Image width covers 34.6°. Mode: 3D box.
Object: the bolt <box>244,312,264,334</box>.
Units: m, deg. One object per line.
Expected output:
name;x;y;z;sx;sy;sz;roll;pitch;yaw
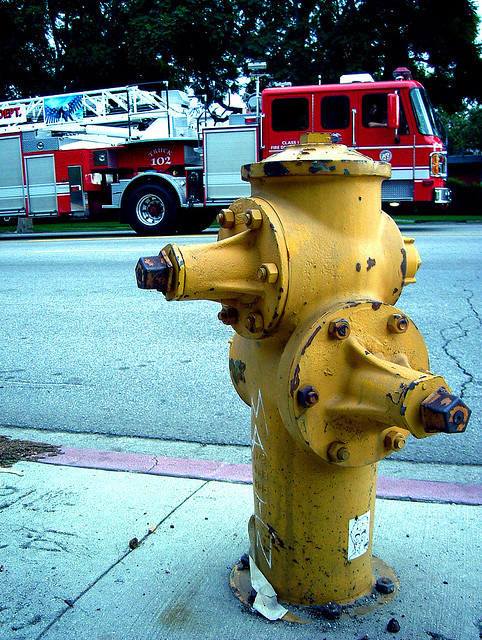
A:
bolt;0.039;0.006;2.303;0.060;0.066;0.075;-9;5;-26

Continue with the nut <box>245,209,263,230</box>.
nut;0.037;-0.288;2.206;0.043;0.061;0.071;-2;4;-30

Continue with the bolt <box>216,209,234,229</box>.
bolt;-0.054;-0.310;2.349;0.064;0.051;0.051;0;2;-36

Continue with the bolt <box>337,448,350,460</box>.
bolt;0.289;0.378;2.183;0.037;0.027;0.034;1;-1;4

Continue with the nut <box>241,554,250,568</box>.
nut;0.014;0.813;2.626;0.025;0.026;0.029;-1;-4;0

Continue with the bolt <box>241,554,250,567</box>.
bolt;0.021;0.817;2.625;0.032;0.024;0.023;2;4;28

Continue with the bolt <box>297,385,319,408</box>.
bolt;0.184;0.212;2.138;0.057;0.062;0.029;-2;15;1

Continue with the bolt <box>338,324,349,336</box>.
bolt;0.285;0.027;2.141;0.036;0.033;0.005;-8;16;-23

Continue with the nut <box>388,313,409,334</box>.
nut;0.449;0.008;2.220;0.068;0.067;0.039;2;6;-28

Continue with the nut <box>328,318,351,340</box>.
nut;0.270;0.023;2.144;0.070;0.064;0.039;-3;8;-41

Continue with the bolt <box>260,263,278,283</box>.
bolt;0.081;-0.131;2.168;0.041;0.055;0.037;-5;14;-10

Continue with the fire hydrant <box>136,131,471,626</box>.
fire hydrant;0.253;0.175;2.328;0.883;1.454;0.574;4;16;24

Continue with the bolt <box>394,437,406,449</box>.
bolt;0.459;0.353;2.235;0.035;0.026;0.048;-21;3;14

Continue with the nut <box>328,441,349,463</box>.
nut;0.274;0.373;2.191;0.068;0.050;0.033;12;-7;-31

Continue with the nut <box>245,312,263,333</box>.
nut;0.039;0.006;2.260;0.037;0.055;0.064;-9;8;-26

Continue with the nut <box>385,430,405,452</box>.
nut;0.449;0.350;2.247;0.053;0.054;0.059;0;7;-8

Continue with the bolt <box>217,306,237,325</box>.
bolt;-0.022;-0.017;2.451;0.069;0.056;0.055;-12;6;-39

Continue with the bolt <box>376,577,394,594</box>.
bolt;0.465;0.852;2.491;0.044;0.020;0.039;1;2;9

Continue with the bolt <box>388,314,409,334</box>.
bolt;0.450;0.009;2.220;0.070;0.072;0.042;0;5;-28

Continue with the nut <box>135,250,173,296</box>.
nut;-0.246;-0.134;2.197;0.099;0.124;0.091;-1;8;-5
